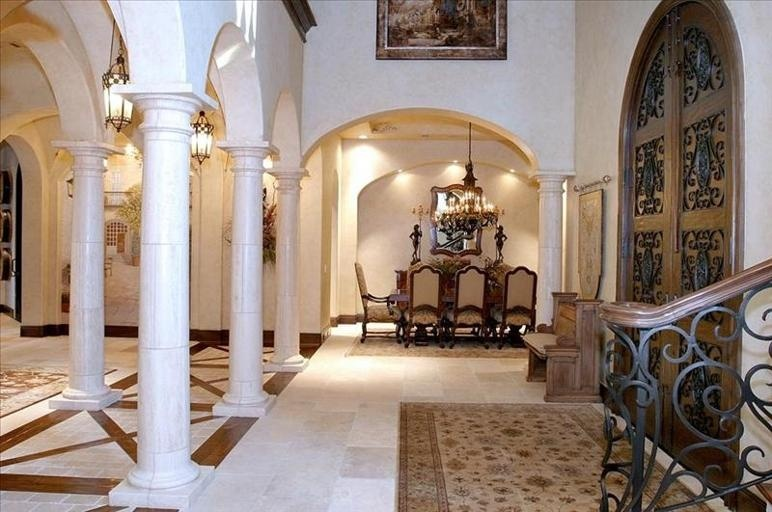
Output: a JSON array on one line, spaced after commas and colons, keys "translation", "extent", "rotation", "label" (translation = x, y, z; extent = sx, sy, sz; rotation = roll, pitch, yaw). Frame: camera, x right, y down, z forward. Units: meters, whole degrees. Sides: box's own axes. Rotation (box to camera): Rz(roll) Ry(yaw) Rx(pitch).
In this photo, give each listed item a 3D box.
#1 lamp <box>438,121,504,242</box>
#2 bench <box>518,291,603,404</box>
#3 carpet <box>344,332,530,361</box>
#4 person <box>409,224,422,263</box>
[{"translation": [1.804, -1.614, 12.306], "extent": [1.637, 2.601, 3.043], "rotation": [2, 6, 12], "label": "lamp"}, {"translation": [2.545, 1.353, 7.789], "extent": [0.673, 1.155, 1.499], "rotation": [1, -3, 6], "label": "bench"}, {"translation": [0.974, 1.790, 10.459], "extent": [3.238, 0.084, 1.442], "rotation": [1, 6, 1], "label": "carpet"}, {"translation": [0.742, -0.282, 13.503], "extent": [0.303, 0.953, 0.404], "rotation": [1, 7, 3], "label": "person"}]
